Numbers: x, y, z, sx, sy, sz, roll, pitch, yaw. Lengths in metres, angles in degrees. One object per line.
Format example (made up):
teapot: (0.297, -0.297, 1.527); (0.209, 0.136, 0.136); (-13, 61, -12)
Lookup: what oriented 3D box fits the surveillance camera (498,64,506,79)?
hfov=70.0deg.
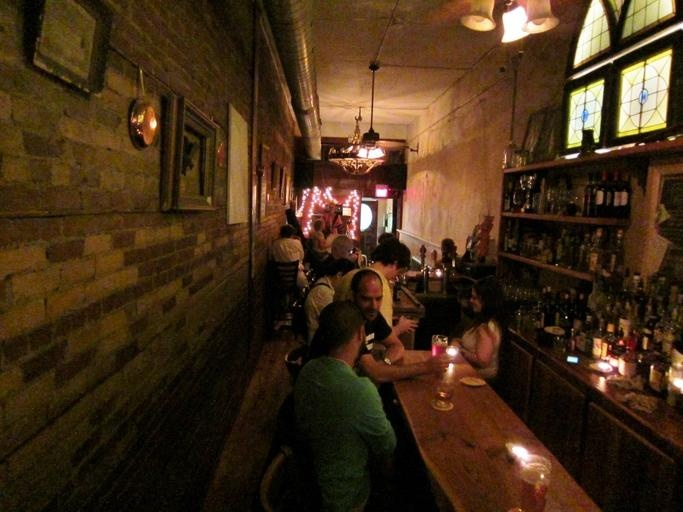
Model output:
surveillance camera: (1.871, -2.156, 5.671); (0.034, 0.127, 0.130); (-3, 18, -19)
